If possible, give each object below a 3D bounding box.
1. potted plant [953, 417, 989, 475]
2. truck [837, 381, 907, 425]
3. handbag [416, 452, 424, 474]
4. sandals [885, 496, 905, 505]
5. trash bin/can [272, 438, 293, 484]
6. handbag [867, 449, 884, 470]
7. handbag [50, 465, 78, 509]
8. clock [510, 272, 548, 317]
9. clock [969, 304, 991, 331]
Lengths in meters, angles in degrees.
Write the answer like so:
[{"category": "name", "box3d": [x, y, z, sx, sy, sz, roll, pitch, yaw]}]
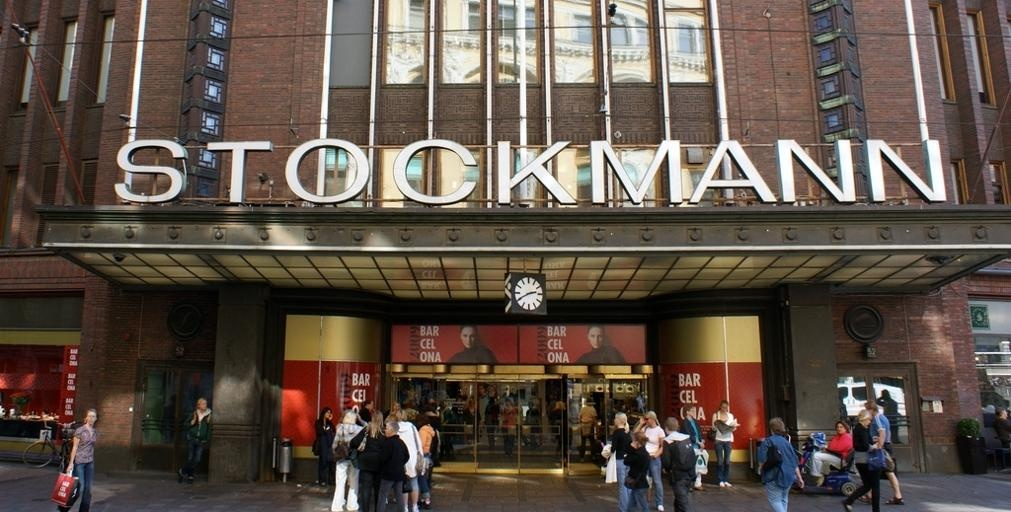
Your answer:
[{"category": "potted plant", "box3d": [19.767, 8.001, 35.339, 1.066, 2.330, 0.776, -8, -17, 22]}, {"category": "truck", "box3d": [16.080, 6.111, 36.332, 3.017, 1.432, 1.620, -3, -6, 5]}, {"category": "handbag", "box3d": [-3.134, 7.671, 30.865, 0.257, 0.613, 0.522, 3, -9, 23]}, {"category": "sandals", "box3d": [14.993, 9.343, 31.955, 0.579, 0.205, 0.302, -1, -11, 21]}, {"category": "trash bin/can", "box3d": [-9.390, 8.489, 34.924, 0.739, 1.740, 0.563, -1, -16, -2]}, {"category": "handbag", "box3d": [13.585, 7.414, 30.483, 0.574, 0.720, 0.442, -15, -42, 25]}, {"category": "handbag", "box3d": [-15.837, 8.311, 29.999, 0.810, 1.310, 0.556, 6, -17, -24]}, {"category": "clock", "box3d": [0.863, 1.373, 31.857, 1.984, 1.631, 0.712, 2, -11, -8]}, {"category": "clock", "box3d": [21.226, 2.741, 37.283, 1.463, 1.353, 0.112, 1, -11, -7]}]
